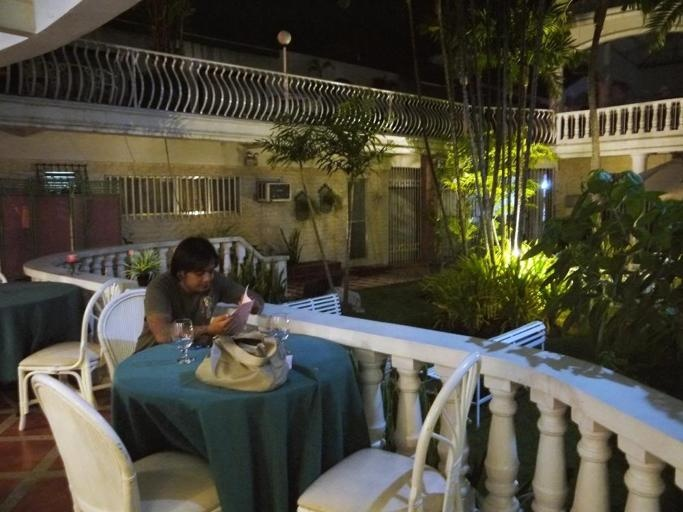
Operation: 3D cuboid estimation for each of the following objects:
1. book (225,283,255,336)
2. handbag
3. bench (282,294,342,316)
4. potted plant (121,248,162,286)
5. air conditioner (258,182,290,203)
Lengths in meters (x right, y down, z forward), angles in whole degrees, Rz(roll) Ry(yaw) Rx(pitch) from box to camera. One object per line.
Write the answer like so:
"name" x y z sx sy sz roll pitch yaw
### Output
"book" -0.578 0.316 2.942 0.062 0.198 0.141 29 -2 -17
"handbag" -0.450 0.503 2.488 0.290 0.118 0.288 -7 12 -40
"bench" -0.231 0.468 4.844 0.552 0.191 0.161 -7 7 -36
"potted plant" -2.843 0.164 7.461 0.474 0.546 0.491 -1 5 -7
"air conditioner" -1.564 -1.458 12.398 0.482 0.468 0.723 6 4 45
